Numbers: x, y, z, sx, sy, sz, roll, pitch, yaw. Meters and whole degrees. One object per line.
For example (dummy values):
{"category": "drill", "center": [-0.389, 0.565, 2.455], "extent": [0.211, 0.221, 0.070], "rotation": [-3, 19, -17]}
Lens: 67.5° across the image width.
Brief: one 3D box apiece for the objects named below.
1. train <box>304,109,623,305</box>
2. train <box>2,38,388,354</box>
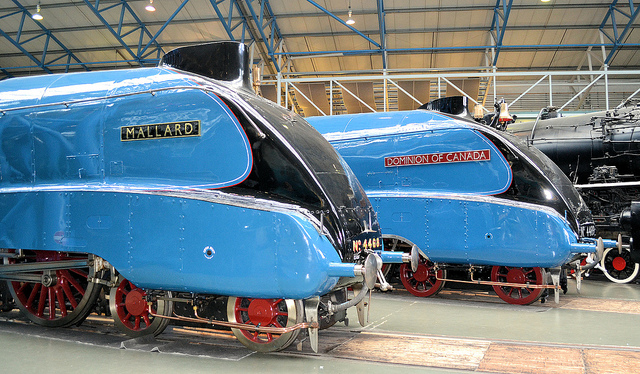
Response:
{"category": "train", "center": [1.967, 0.384, 12.293], "extent": [9.871, 4.419, 3.104], "rotation": [3, 0, -12]}
{"category": "train", "center": [-2.411, 0.349, 8.743], "extent": [6.700, 5.027, 1.587], "rotation": [2, 5, 13]}
